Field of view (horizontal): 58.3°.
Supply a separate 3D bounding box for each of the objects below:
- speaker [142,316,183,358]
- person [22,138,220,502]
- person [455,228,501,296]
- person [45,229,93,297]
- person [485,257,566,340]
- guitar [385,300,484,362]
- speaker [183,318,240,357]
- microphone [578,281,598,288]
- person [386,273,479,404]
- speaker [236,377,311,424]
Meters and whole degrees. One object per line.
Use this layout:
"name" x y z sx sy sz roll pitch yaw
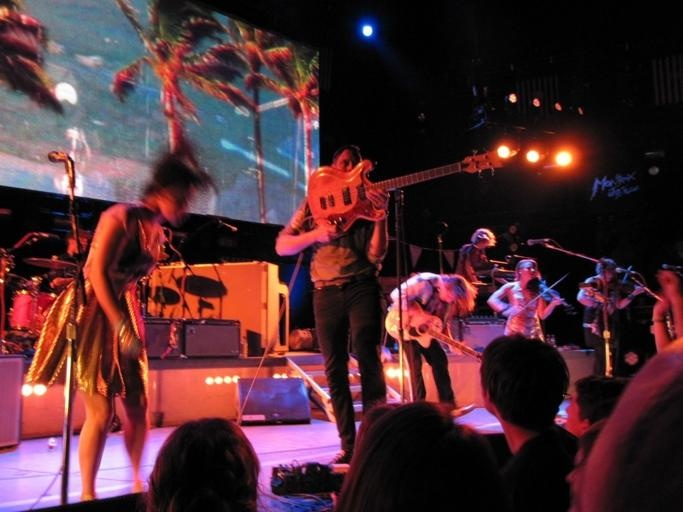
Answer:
"speaker" -1.731 0.805 5.758 0.227 0.329 0.400 -15 -17 39
"person" -1.095 0.271 3.018 0.751 1.803 0.625 3 -9 -34
"person" 1.840 0.071 8.299 0.521 0.447 1.150 -4 -16 10
"person" -2.168 0.050 4.821 0.328 0.723 0.104 11 10 11
"person" 2.044 0.651 6.770 0.771 1.352 0.325 -5 32 7
"guitar" 0.939 0.748 6.068 1.050 0.376 0.147 22 -6 -24
"speaker" -1.397 0.829 6.173 0.660 0.370 0.494 5 -7 -32
"microphone" 3.077 0.356 7.624 0.180 0.070 0.212 -1 -7 -4
"person" 0.837 0.643 5.755 0.784 1.375 0.382 -9 -13 8
"speaker" -0.662 1.383 5.890 0.661 0.390 0.494 1 10 -18
